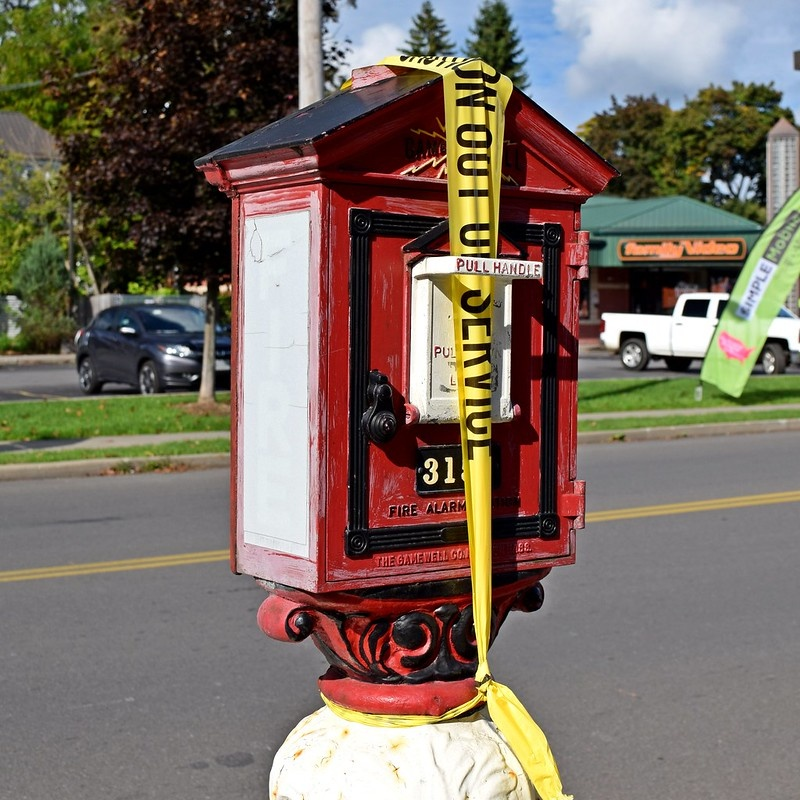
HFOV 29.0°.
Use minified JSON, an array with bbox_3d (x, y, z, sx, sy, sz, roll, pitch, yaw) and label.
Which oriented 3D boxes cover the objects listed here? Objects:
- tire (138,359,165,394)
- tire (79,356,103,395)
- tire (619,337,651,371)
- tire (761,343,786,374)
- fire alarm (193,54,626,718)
[{"bbox_3d":[-3.672,-0.330,22.769,0.269,0.565,0.907,-2,9,-22],"label":"tire"},{"bbox_3d":[-4.907,-0.408,24.502,0.137,0.491,0.435,0,16,-32],"label":"tire"},{"bbox_3d":[4.559,-0.912,29.990,0.204,0.645,0.559,0,1,-31],"label":"tire"},{"bbox_3d":[6.744,-0.765,27.868,0.159,0.551,0.491,-1,2,-13],"label":"tire"},{"bbox_3d":[-0.028,-0.063,6.148,1.331,2.515,2.045,0,4,-3],"label":"fire alarm"}]
